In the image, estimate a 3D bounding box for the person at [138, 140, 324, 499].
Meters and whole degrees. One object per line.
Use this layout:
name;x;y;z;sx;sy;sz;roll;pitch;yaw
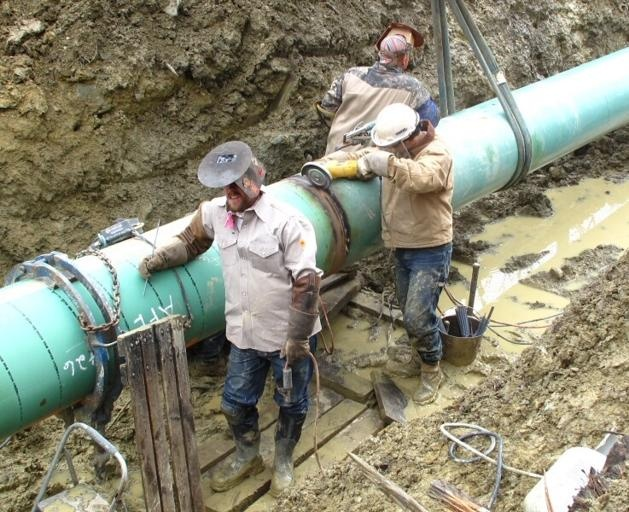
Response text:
person;-0.432;0.436;4.324;0.969;2.279;0.418;6;23;17

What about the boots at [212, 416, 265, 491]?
boots;-0.531;1.337;4.623;0.380;0.505;0.168;-17;31;-32

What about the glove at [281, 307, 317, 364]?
glove;-0.107;0.483;4.136;0.193;0.456;0.186;11;25;-10

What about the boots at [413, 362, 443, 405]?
boots;0.914;1.024;5.309;0.116;0.250;0.261;14;59;43

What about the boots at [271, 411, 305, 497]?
boots;-0.193;1.308;4.529;0.211;0.638;0.580;4;37;-2

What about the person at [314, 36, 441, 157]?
person;0.575;-1.166;5.889;0.860;1.524;0.763;6;48;0

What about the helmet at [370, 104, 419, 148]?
helmet;0.575;-0.943;4.684;0.299;0.136;0.289;-45;58;-9
